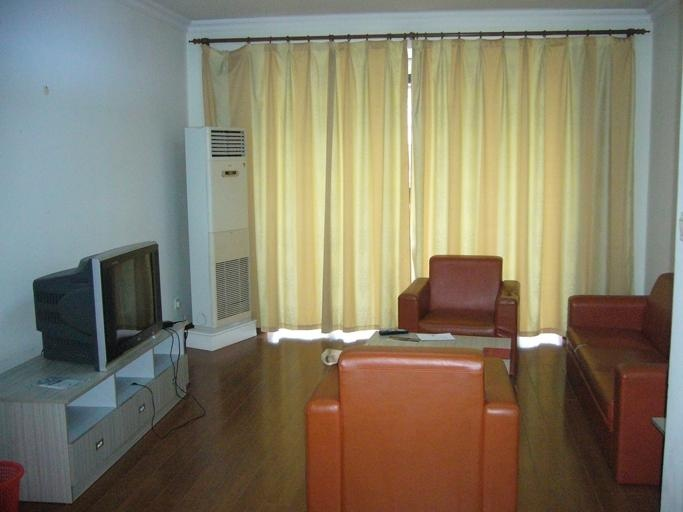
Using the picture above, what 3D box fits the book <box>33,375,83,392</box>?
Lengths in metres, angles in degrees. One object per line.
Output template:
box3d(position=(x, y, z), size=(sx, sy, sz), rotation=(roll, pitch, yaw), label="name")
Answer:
box3d(position=(-1.786, 0.793, 3.557), size=(0.290, 0.024, 0.168), rotation=(2, 10, 14), label="book")

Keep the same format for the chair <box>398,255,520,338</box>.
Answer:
box3d(position=(1.087, 0.458, 5.176), size=(0.990, 0.890, 0.766), rotation=(1, 6, 19), label="chair")

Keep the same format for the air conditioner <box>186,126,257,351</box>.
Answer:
box3d(position=(-1.270, -0.174, 5.680), size=(0.684, 2.182, 0.405), rotation=(-3, 9, -11), label="air conditioner")
